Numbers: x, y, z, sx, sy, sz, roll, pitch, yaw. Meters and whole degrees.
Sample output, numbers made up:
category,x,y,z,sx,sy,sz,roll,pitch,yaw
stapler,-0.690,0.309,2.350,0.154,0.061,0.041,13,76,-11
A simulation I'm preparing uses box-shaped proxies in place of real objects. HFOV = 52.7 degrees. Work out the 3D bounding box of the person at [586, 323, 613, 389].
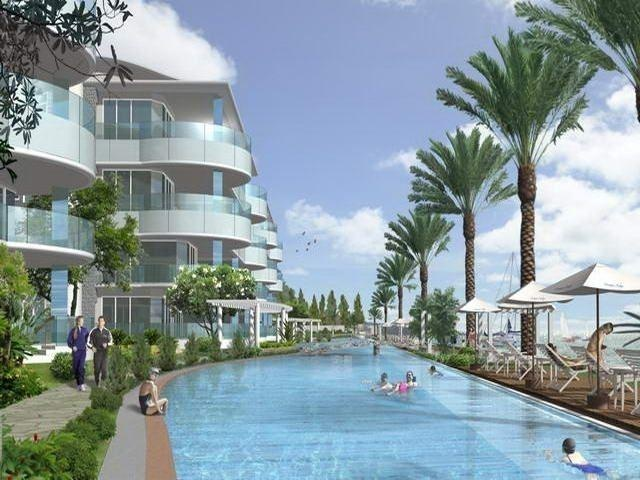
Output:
category,x,y,z,sx,sy,sz,roll,pitch,yaw
person,8.043,3.222,18.706,0.652,1.945,0.518,1,24,22
